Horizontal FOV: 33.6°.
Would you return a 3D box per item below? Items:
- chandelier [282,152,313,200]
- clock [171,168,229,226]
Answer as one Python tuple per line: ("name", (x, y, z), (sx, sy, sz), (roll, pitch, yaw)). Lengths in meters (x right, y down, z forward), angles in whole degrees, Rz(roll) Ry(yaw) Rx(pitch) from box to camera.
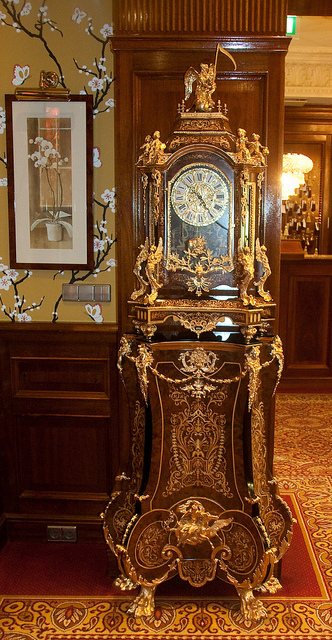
("chandelier", (1.365, -1.492, 5.698), (0.298, 0.444, 0.417), (2, 7, 14))
("clock", (0.116, -0.423, 1.896), (0.190, 0.185, 0.018), (1, 6, 4))
